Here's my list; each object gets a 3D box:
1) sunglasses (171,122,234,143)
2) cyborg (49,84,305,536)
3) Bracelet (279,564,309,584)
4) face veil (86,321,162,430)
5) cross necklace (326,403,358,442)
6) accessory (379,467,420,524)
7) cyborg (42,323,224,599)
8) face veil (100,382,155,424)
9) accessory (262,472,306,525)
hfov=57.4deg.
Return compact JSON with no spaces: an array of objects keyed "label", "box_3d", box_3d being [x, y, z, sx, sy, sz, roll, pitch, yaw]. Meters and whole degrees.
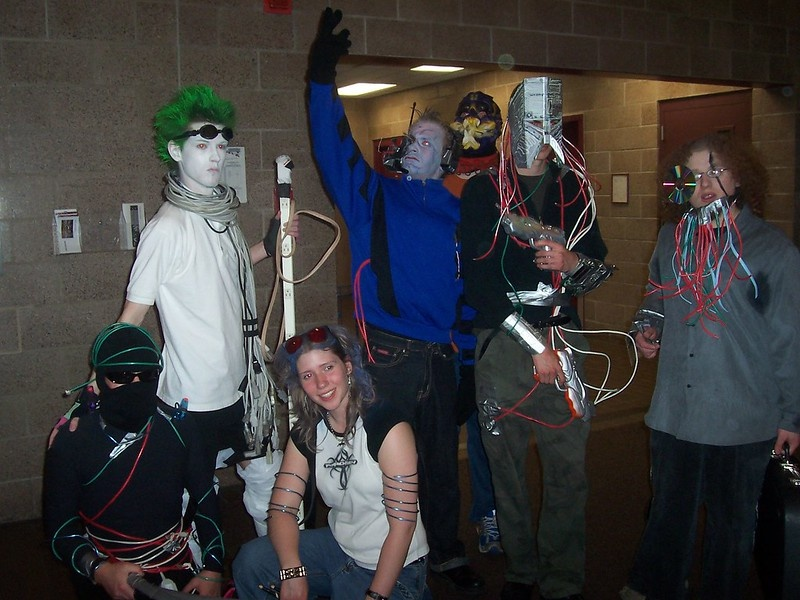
[{"label":"sunglasses","box_3d":[-0.804,-0.679,2.958,0.242,0.078,0.066,-6,7,-20]},{"label":"cyborg","box_3d":[-0.880,0.309,3.117,1.198,2.204,0.481,-9,8,-42]},{"label":"Bracelet","box_3d":[-0.410,1.023,2.761,0.087,0.054,0.086,-1,-17,-1]},{"label":"face veil","box_3d":[-1.012,0.294,2.718,0.236,0.412,0.117,-5,7,-22]},{"label":"cross necklace","box_3d":[-0.227,0.469,2.841,0.106,0.151,0.043,-18,-7,23]},{"label":"accessory","box_3d":[0.019,0.744,2.808,0.151,0.207,0.122,2,3,-19]},{"label":"cyborg","box_3d":[-1.032,0.647,2.830,0.566,1.207,0.538,-5,21,-46]},{"label":"face veil","box_3d":[-1.007,0.389,2.700,0.141,0.166,0.183,-1,-22,-29]},{"label":"accessory","box_3d":[-0.442,0.738,2.908,0.116,0.219,0.161,6,-7,14]}]
